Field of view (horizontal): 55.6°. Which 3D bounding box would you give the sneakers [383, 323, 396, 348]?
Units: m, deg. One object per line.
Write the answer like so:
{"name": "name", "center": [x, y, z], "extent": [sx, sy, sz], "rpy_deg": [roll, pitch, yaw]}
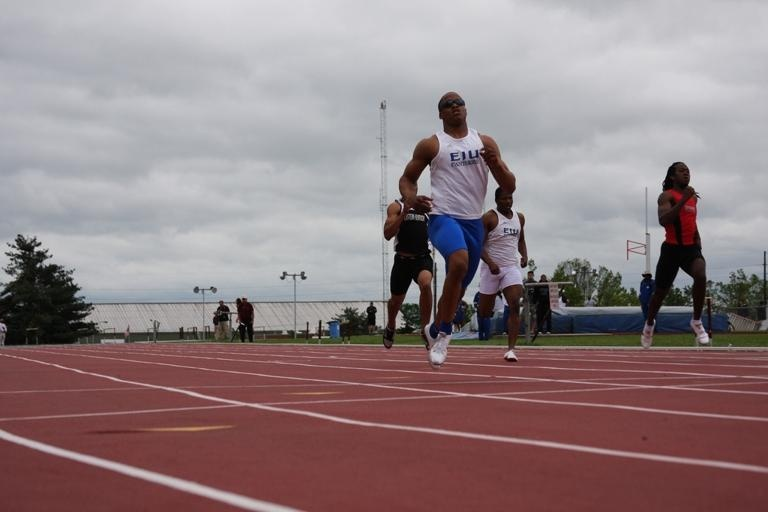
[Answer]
{"name": "sneakers", "center": [0.063, 1.136, 10.350], "extent": [0.142, 0.427, 0.179], "rpy_deg": [0, -21, -5]}

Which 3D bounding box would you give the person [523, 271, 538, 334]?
{"name": "person", "center": [2.898, 1.015, 14.312], "extent": [0.351, 1.407, 0.397], "rpy_deg": [0, -1, -7]}

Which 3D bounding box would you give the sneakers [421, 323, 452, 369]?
{"name": "sneakers", "center": [0.504, 0.746, 6.713], "extent": [0.184, 0.550, 0.230], "rpy_deg": [2, -29, -19]}

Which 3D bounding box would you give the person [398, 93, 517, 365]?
{"name": "person", "center": [0.627, -0.268, 6.541], "extent": [0.965, 2.508, 0.877], "rpy_deg": [1, -4, 8]}
